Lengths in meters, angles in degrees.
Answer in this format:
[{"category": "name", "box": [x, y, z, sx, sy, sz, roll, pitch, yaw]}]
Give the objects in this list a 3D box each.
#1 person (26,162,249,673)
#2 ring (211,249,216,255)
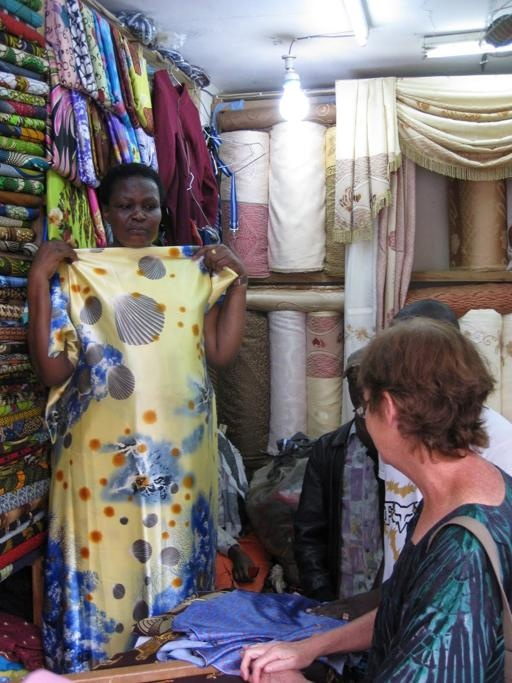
[{"category": "person", "box": [-0.336, 0.194, 1.884, 0.653, 1.552, 0.385, -2, -3, -8]}, {"category": "ring", "box": [-0.135, -0.284, 1.962, 0.014, 0.015, 0.005, 18, 5, 1]}]
